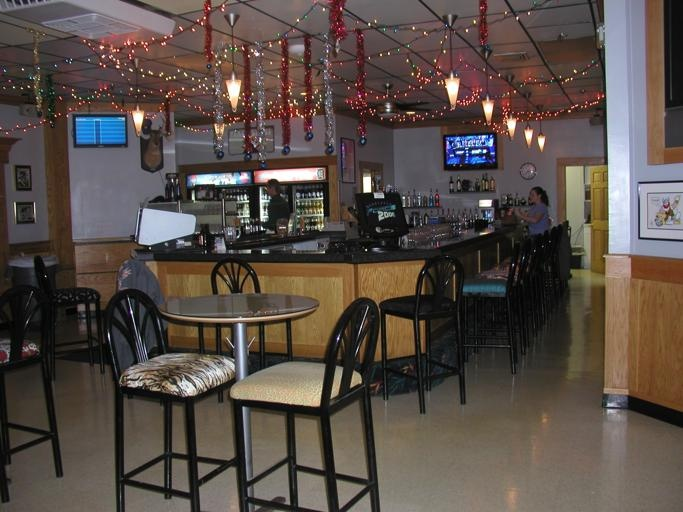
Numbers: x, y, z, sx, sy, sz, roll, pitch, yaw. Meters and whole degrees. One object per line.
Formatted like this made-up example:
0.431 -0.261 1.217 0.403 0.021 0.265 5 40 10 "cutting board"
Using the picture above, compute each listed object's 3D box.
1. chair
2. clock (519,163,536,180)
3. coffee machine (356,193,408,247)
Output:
-0.496 0.576 5.516 2.611 1.371 4.593 5 11 35 "chair"
4.066 -1.873 12.436 0.336 0.379 0.039 1 14 25 "clock"
0.398 -0.363 5.692 0.504 0.595 0.218 -2 -23 -28 "coffee machine"
